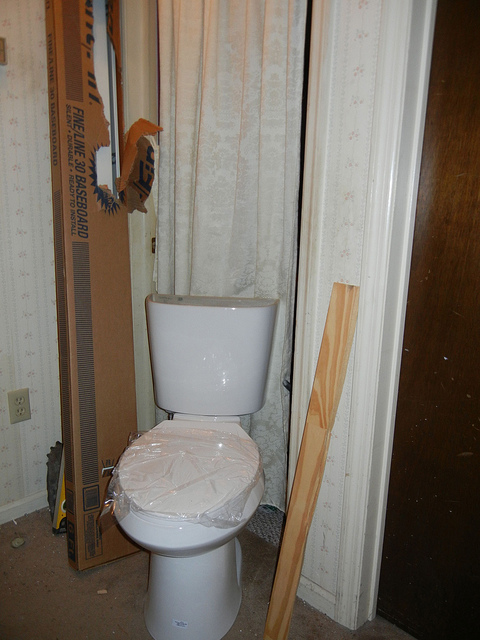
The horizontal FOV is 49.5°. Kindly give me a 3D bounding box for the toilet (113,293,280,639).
[{"bbox_3d":[-0.091,0.354,1.237,0.350,0.742,0.492,2,11,4],"label":"toilet"}]

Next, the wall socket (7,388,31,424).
[{"bbox_3d":[-0.663,0.256,1.559,0.009,0.134,0.072,5,10,31],"label":"wall socket"}]
